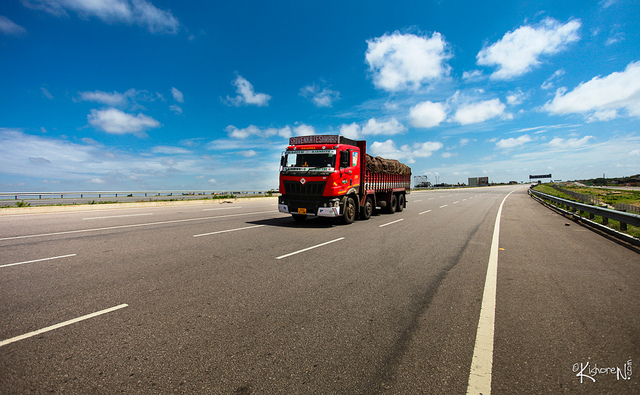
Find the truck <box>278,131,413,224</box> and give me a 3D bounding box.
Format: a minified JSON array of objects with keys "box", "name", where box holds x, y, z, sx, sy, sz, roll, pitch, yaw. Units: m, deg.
[{"box":[1.623,-0.672,18.502,3.257,3.396,9.334,-3,-3,35],"name":"truck"}]
